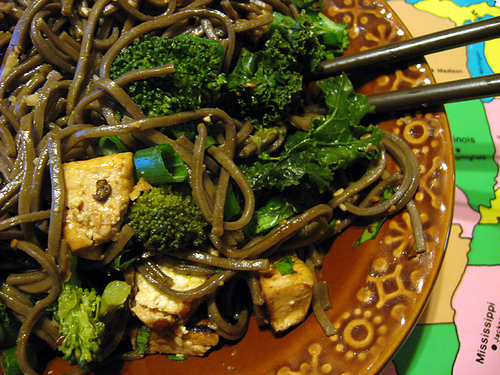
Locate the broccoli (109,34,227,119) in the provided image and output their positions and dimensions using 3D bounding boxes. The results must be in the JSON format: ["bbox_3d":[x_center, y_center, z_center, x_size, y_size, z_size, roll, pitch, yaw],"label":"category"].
[{"bbox_3d":[-0.463,-0.620,2.918,0.650,0.442,0.184,5,17,-10],"label":"broccoli"}]

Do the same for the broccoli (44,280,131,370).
[{"bbox_3d":[-0.902,0.732,2.900,0.369,0.553,0.371,-10,13,-19],"label":"broccoli"}]

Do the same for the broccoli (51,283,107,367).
[{"bbox_3d":[-0.955,0.765,2.872,0.300,0.500,0.251,0,-23,-18],"label":"broccoli"}]

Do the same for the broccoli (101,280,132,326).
[{"bbox_3d":[-0.782,0.674,2.984,0.147,0.244,0.057,25,-13,11],"label":"broccoli"}]

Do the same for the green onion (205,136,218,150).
[{"bbox_3d":[-0.227,-0.261,2.970,0.060,0.064,0.064,21,28,11],"label":"green onion"}]
